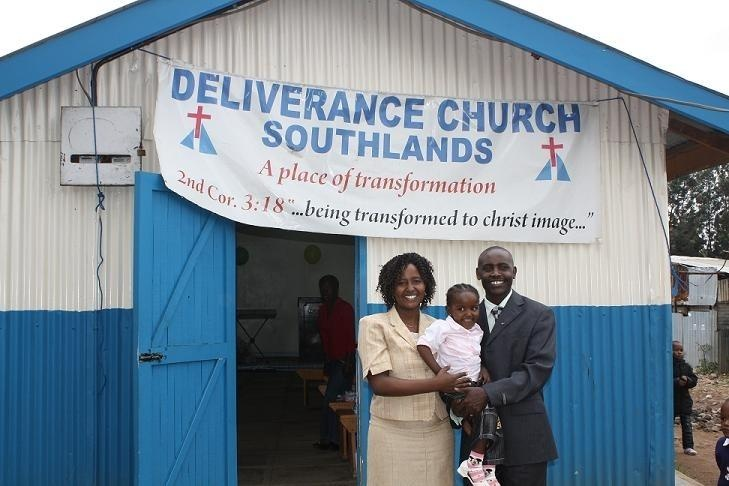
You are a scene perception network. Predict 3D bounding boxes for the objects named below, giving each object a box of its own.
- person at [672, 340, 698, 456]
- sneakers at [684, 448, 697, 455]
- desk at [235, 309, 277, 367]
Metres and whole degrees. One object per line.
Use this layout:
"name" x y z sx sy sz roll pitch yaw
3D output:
"person" 4.634 2.397 13.460 0.293 1.744 0.657 -1 -4 19
"sneakers" 4.734 3.236 13.531 0.071 0.075 0.160 2 -10 -14
"desk" -2.200 2.253 20.879 0.873 1.335 1.239 1 -6 -1
